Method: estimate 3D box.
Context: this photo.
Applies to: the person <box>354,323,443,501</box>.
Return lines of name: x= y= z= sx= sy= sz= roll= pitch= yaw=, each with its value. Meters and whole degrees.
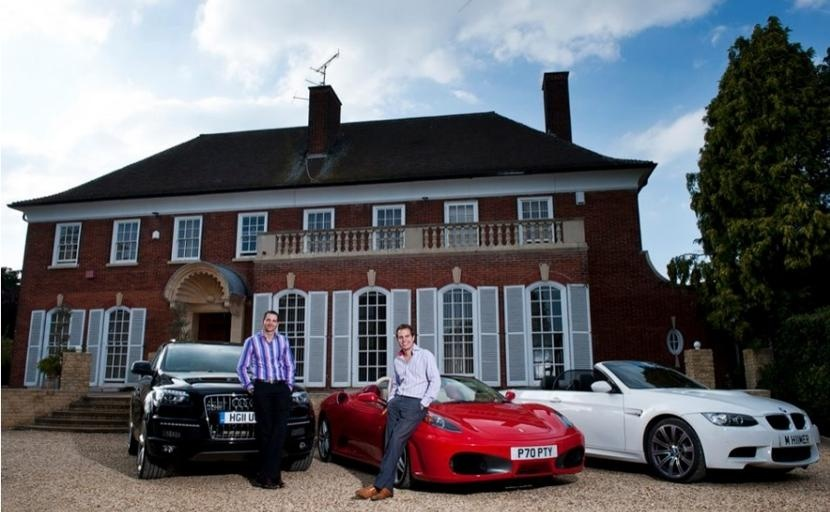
person: x=-0.255 y=2.892 z=11.505 sx=1.455 sy=3.166 sz=0.548 roll=-3 pitch=4 yaw=-25

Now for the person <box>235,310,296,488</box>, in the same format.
person: x=-2.858 y=2.802 z=12.044 sx=0.962 sy=3.358 sz=0.637 roll=-1 pitch=4 yaw=-11

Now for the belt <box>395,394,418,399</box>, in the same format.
belt: x=-0.145 y=2.613 z=11.458 sx=0.415 sy=0.075 sz=0.040 roll=0 pitch=4 yaw=11

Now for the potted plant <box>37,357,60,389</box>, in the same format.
potted plant: x=-12.587 y=4.010 z=21.372 sx=0.637 sy=0.920 sz=1.042 roll=-3 pitch=5 yaw=-33
